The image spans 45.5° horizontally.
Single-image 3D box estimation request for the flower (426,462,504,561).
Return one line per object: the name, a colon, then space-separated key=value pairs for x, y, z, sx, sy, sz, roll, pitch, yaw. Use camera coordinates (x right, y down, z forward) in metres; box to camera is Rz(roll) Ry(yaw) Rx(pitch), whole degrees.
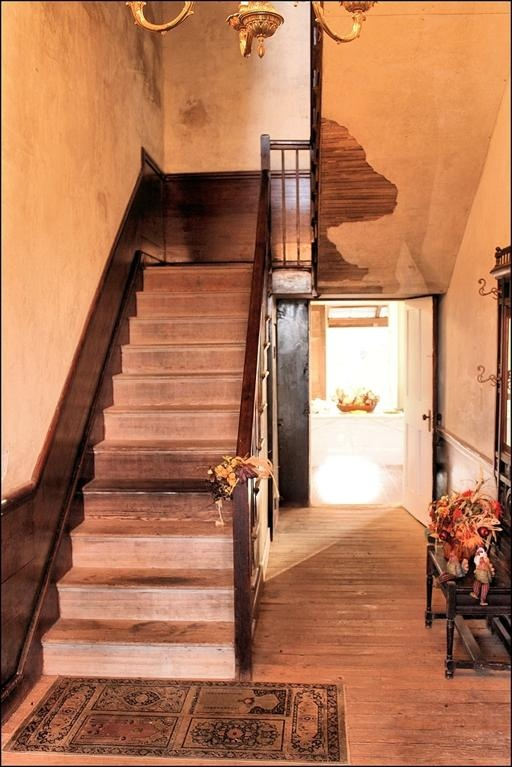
flower: x=1.058 y=0.666 z=3.178 sx=0.390 sy=0.508 sz=0.323 roll=0 pitch=-5 yaw=42
